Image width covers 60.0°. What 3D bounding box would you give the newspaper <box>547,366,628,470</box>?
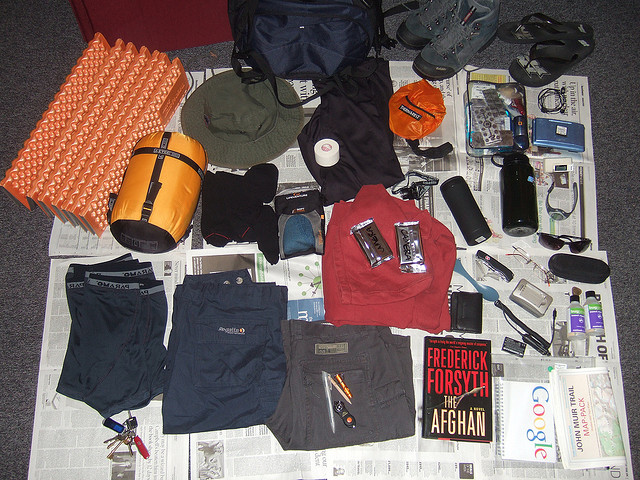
[{"bbox_3d":[1.306,0.859,2.697,0.401,0.097,0.423,-2,78,-3],"label":"newspaper"}]

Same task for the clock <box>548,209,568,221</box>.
[{"bbox_3d":[1.262,-0.131,2.931,0.094,0.030,0.055,15,99,10],"label":"clock"}]
